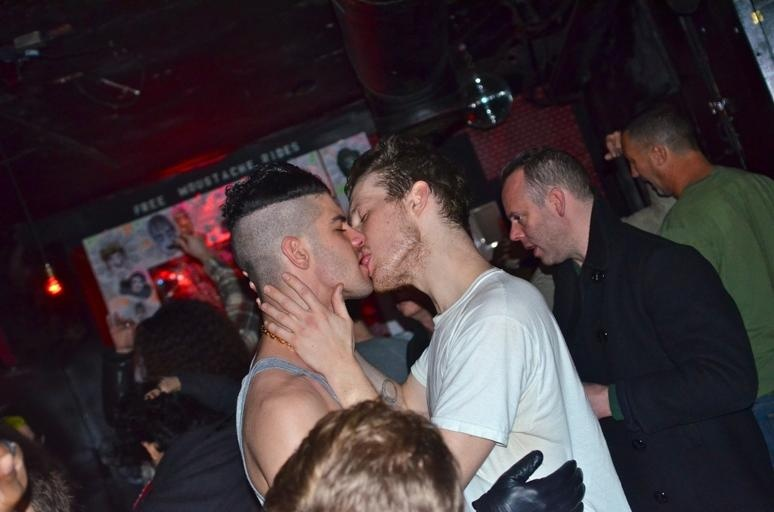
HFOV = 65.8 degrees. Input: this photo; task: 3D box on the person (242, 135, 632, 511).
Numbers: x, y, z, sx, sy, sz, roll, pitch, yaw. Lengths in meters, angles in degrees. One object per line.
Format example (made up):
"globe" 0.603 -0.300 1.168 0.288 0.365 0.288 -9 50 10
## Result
"person" 0.267 0.475 3.370 1.313 2.142 0.819 -20 -6 18
